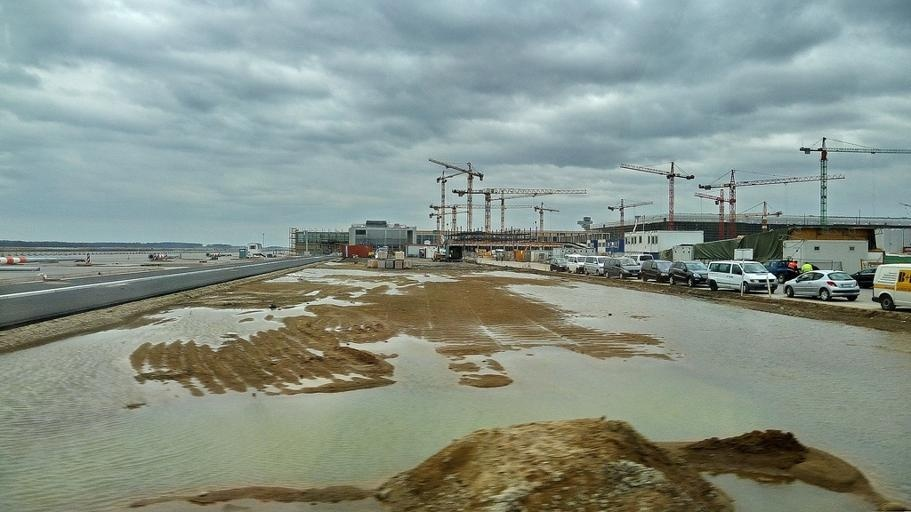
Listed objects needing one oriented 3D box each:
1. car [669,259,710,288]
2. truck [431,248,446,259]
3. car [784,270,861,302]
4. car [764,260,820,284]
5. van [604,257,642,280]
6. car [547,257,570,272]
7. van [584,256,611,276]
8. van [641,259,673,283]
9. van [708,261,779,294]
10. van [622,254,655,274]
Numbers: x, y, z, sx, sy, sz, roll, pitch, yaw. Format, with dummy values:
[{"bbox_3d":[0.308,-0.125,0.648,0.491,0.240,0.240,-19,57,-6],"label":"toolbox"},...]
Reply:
[{"bbox_3d":[15.569,1.163,37.718,1.453,1.603,3.210,0,1,1],"label":"car"},{"bbox_3d":[-3.054,-0.741,104.533,3.315,1.587,4.065,0,-1,-4],"label":"truck"},{"bbox_3d":[18.734,1.473,29.024,1.507,1.456,2.788,-1,1,-18],"label":"car"},{"bbox_3d":[22.164,0.964,38.753,2.218,1.323,3.286,-2,5,-11],"label":"car"},{"bbox_3d":[13.726,0.970,46.648,1.671,0.968,2.837,0,-3,-16],"label":"van"},{"bbox_3d":[10.980,0.862,59.740,1.270,0.845,1.947,0,-6,-18],"label":"car"},{"bbox_3d":[12.597,0.719,51.047,1.630,0.886,2.056,1,-4,-20],"label":"van"},{"bbox_3d":[14.872,1.096,42.293,1.117,1.558,3.366,-1,1,-19],"label":"van"},{"bbox_3d":[17.303,1.103,34.191,2.346,1.404,3.855,-5,4,-11],"label":"van"},{"bbox_3d":[15.307,0.669,47.535,2.380,1.737,3.549,-1,-8,-3],"label":"van"}]
